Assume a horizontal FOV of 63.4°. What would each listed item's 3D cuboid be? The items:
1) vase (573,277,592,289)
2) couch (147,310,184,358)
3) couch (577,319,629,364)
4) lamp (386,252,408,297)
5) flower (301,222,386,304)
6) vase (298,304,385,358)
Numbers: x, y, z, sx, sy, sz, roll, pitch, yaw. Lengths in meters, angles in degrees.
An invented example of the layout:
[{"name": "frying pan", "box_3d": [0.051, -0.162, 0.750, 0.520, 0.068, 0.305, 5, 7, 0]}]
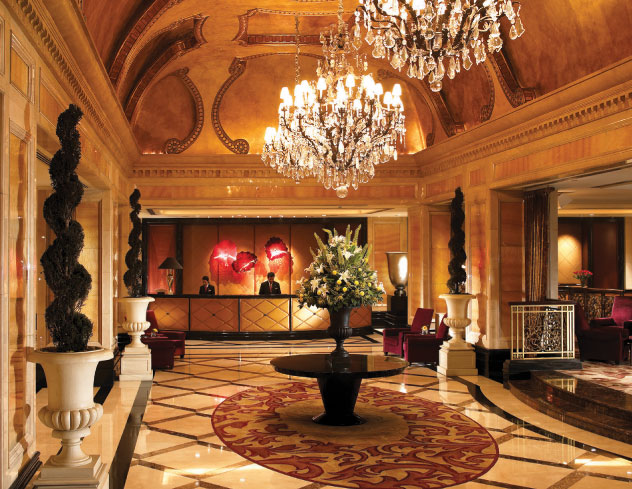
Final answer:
[{"name": "vase", "box_3d": [8.504, 1.241, 16.395, 0.541, 0.551, 0.504, 1, 1, -40]}, {"name": "couch", "box_3d": [-3.137, 1.932, 11.000, 1.002, 1.218, 0.944, 1, -3, -7]}, {"name": "couch", "box_3d": [5.613, 1.898, 9.766, 1.320, 0.691, 0.600, 1, -3, -27]}, {"name": "lamp", "box_3d": [2.269, 0.762, 14.128, 0.559, 1.104, 0.511, -1, -2, 7]}, {"name": "flower", "box_3d": [0.345, 0.244, 6.772, 1.084, 1.098, 1.045, 1, -1, -9]}, {"name": "vase", "box_3d": [0.301, 1.063, 6.654, 0.816, 0.584, 0.803, 1, -8, -4]}]
